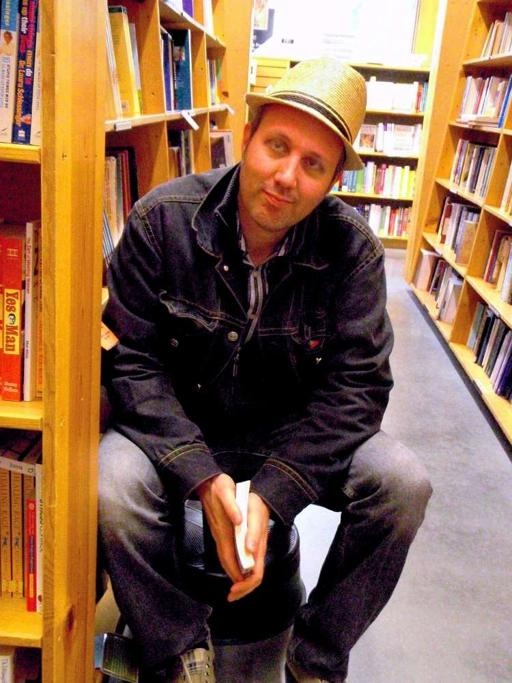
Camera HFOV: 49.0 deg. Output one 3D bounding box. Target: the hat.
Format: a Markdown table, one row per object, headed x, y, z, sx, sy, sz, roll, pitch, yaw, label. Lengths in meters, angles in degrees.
| x | y | z | sx | sy | sz | roll | pitch | yaw | label |
| --- | --- | --- | --- | --- | --- | --- | --- | --- | --- |
| 0.115 | -0.425 | 1.151 | 0.230 | 0.127 | 0.237 | 29 | -14 | 17 | hat |
